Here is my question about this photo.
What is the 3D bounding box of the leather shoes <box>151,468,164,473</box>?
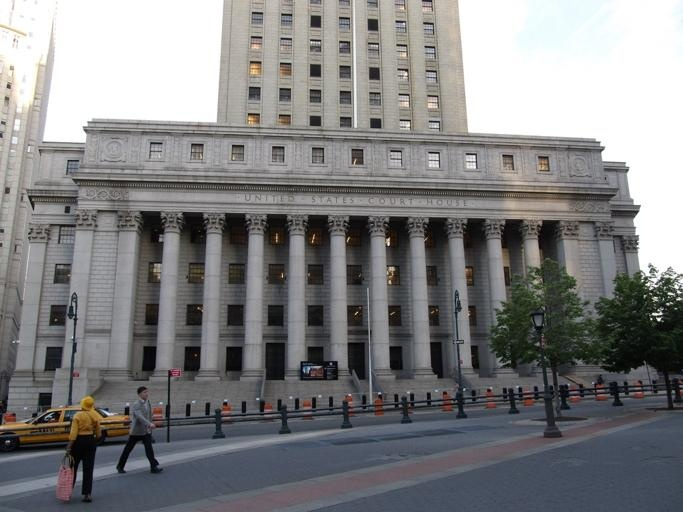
[{"bbox_3d":[-6.034,6.990,19.955,0.415,0.152,0.125,-2,-8,1],"label":"leather shoes"}]

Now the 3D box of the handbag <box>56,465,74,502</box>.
[{"bbox_3d":[-7.596,6.193,16.784,0.400,0.925,0.298,0,-14,-16],"label":"handbag"}]

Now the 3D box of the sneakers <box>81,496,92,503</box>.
[{"bbox_3d":[-7.170,6.804,17.173,0.134,0.195,0.314,16,-8,-42],"label":"sneakers"}]

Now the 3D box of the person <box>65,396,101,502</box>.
[{"bbox_3d":[-7.454,5.525,17.661,0.824,2.892,1.465,1,-14,-20],"label":"person"}]
